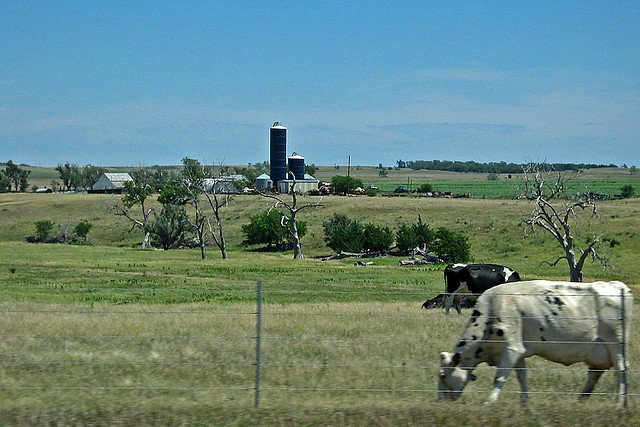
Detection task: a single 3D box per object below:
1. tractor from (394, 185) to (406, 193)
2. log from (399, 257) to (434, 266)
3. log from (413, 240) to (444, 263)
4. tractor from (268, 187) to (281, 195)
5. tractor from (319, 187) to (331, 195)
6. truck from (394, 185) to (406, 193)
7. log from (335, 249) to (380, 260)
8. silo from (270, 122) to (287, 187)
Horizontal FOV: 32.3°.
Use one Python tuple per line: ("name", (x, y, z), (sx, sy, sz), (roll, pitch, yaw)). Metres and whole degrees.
("tractor", (15.398, -5.118, 209.671), (2.333, 1.264, 2.190), (1, -1, -9))
("log", (9.303, 4.644, 107.343), (3.123, 0.312, 3.624), (-1, 4, 16))
("log", (10.979, 3.880, 112.749), (1.960, 0.923, 2.651), (15, -3, 10))
("tractor", (-7.954, -4.001, 194.157), (2.518, 1.333, 1.167), (0, 9, -2))
("tractor", (0.837, -4.185, 200.045), (1.852, 0.998, 2.383), (0, -1, -7))
("truck", (15.381, -5.008, 209.501), (2.043, 1.104, 1.918), (1, -1, -6))
("log", (3.880, 4.362, 117.989), (4.876, 0.639, 1.446), (-4, -34, -8))
("silo", (-7.294, -10.191, 192.751), (2.671, 11.112, 5.556), (-2, 4, -2))
